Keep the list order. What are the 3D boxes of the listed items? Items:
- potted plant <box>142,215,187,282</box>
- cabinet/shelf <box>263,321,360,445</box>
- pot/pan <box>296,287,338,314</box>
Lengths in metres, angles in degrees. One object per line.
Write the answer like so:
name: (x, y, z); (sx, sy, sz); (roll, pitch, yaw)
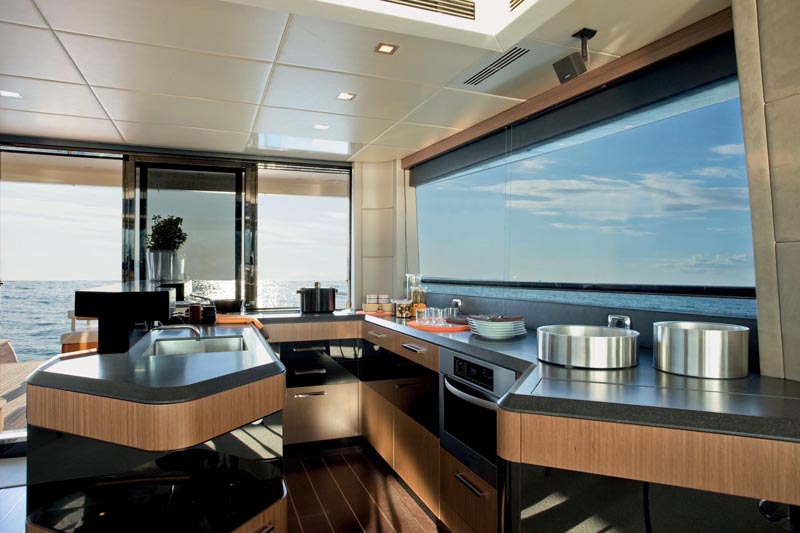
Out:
potted plant: (-2.178, -0.164, 4.860); (0.384, 0.687, 0.483); (-2, 0, -22)
cabinet/shelf: (-0.973, 1.103, 5.007); (0.971, 1.208, 0.718); (4, -15, -42)
pot/pan: (-0.822, 0.340, 5.182); (0.476, 0.287, 0.241); (1, 0, -15)
